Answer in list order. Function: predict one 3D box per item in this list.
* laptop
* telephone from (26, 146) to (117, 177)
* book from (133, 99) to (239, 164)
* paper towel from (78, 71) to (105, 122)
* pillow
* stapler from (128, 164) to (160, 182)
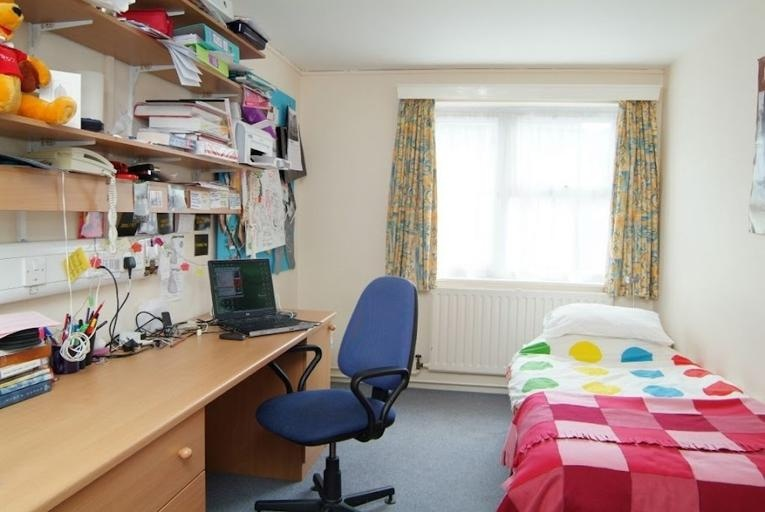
[{"bbox_3d":[-0.717,0.205,3.057,0.502,0.367,0.502,-1,4,-44],"label":"laptop"},{"bbox_3d":[-1.407,-0.409,2.386,0.158,0.073,0.213,6,6,31],"label":"telephone"},{"bbox_3d":[-1.065,-0.605,2.838,0.377,0.167,0.436,0,5,17],"label":"book"},{"bbox_3d":[-1.360,-0.747,2.422,0.089,0.213,0.087,-2,14,-18],"label":"paper towel"},{"bbox_3d":[1.594,0.485,3.755,0.591,0.153,0.452,1,0,9],"label":"pillow"},{"bbox_3d":[-1.262,-0.437,2.768,0.140,0.067,0.103,2,1,31],"label":"stapler"}]
